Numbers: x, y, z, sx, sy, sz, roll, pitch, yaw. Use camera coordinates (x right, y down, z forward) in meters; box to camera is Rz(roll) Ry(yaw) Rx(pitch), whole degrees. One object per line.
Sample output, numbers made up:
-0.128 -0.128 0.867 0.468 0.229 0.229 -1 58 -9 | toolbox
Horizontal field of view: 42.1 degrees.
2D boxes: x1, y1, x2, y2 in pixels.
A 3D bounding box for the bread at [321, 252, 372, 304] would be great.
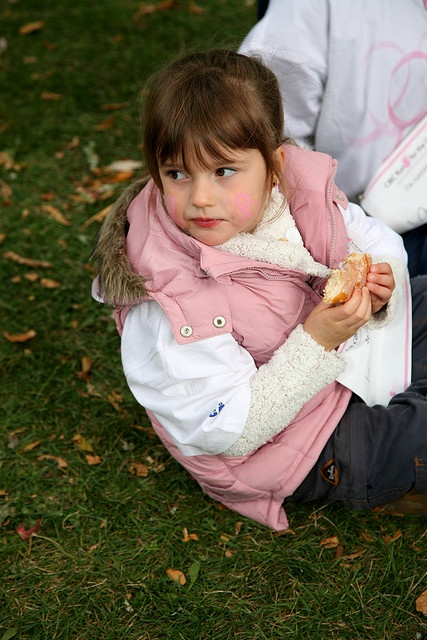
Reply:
0.321 -0.108 1.336 0.092 0.051 0.162 18 48 28 | bread
